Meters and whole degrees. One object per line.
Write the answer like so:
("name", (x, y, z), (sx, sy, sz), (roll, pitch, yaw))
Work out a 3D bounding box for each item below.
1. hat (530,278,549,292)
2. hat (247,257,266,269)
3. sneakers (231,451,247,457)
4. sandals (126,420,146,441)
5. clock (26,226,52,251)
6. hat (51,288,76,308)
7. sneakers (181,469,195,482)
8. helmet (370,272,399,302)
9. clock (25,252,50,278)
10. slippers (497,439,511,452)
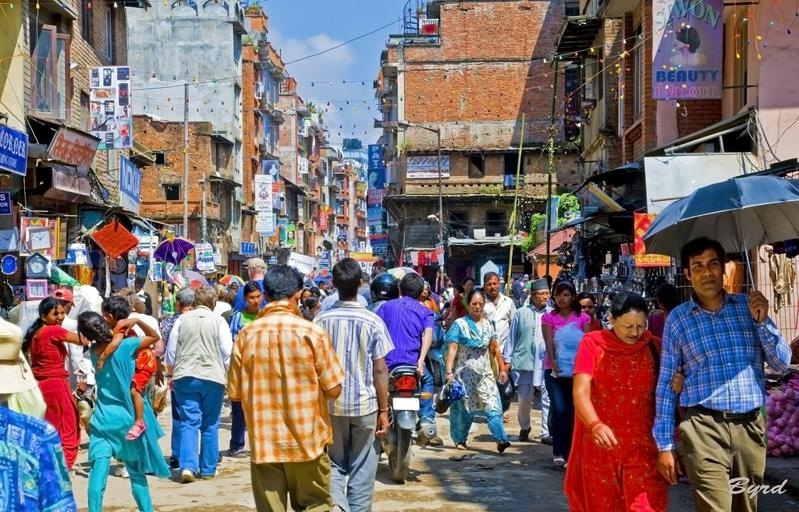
("hat", (2.150, 0.455, 17.860), (0.203, 0.149, 0.209), (2, -6, -13))
("hat", (-2.338, 0.124, 18.698), (0.173, 0.129, 0.237), (1, -1, -25))
("sneakers", (-2.352, 2.922, 16.980), (0.182, 0.082, 0.102), (-4, -3, 14))
("sandals", (-3.296, 2.206, 14.469), (0.106, 0.132, 0.304), (-9, 9, 9))
("clock", (-6.665, -0.295, 21.471), (0.497, 0.502, 0.393), (-1, -1, -13))
("hat", (-4.875, 0.570, 16.745), (0.385, 0.214, 0.274), (27, 9, 31))
("sneakers", (-2.883, 3.016, 15.768), (0.095, 0.101, 0.237), (-5, -37, 0))
("helmet", (-0.243, 0.456, 16.946), (0.331, 0.449, 0.427), (3, 10, -9))
("clock", (-6.720, 0.170, 21.469), (0.416, 0.437, 0.433), (1, -1, -19))
("slippers", (1.532, 2.832, 17.033), (0.106, 0.134, 0.310), (-6, -30, -10))
